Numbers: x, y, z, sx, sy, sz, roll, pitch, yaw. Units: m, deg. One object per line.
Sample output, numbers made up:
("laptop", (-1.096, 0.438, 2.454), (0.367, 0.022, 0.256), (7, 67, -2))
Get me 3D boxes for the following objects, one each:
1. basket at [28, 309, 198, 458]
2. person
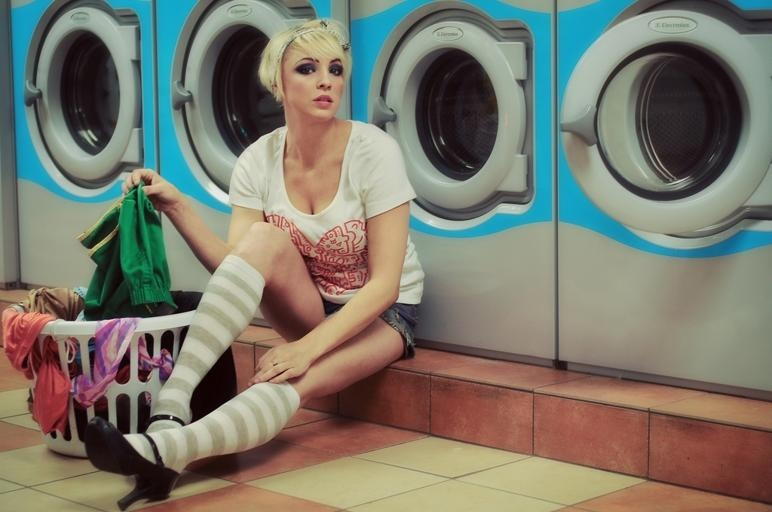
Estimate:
("basket", (-0.812, 0.370, 1.987), (0.433, 0.341, 0.430), (1, -1, 4))
("person", (-0.510, -0.050, 2.181), (0.820, 1.290, 1.503), (-1, 13, 23))
